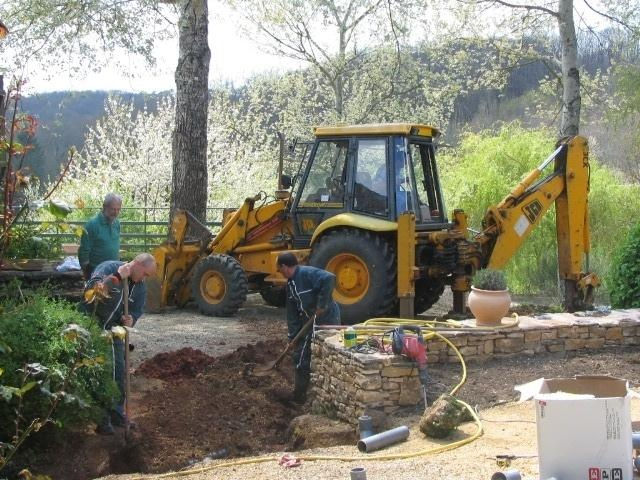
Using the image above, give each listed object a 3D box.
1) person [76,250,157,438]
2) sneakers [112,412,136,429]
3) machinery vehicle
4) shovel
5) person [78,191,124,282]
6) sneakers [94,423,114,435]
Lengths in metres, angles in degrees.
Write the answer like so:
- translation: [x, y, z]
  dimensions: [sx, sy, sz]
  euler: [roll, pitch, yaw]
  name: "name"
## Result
- translation: [-2.519, 0.989, 9.466]
  dimensions: [0.787, 2.562, 0.927]
  euler: [7, 7, 31]
  name: "person"
- translation: [-2.504, 2.303, 9.744]
  dimensions: [0.229, 0.103, 0.180]
  euler: [13, 0, 11]
  name: "sneakers"
- translation: [0.822, -0.206, 13.260]
  dimensions: [7.474, 3.389, 2.503]
  euler: [1, -2, 25]
  name: "machinery vehicle"
- translation: [-0.471, 1.480, 11.040]
  dimensions: [0.832, 1.103, 0.807]
  euler: [2, 7, -40]
  name: "shovel"
- translation: [-3.198, -0.054, 11.138]
  dimensions: [0.507, 1.758, 0.610]
  euler: [3, 5, 29]
  name: "person"
- translation: [-2.661, 2.333, 9.457]
  dimensions: [0.226, 0.136, 0.082]
  euler: [3, -2, -18]
  name: "sneakers"
